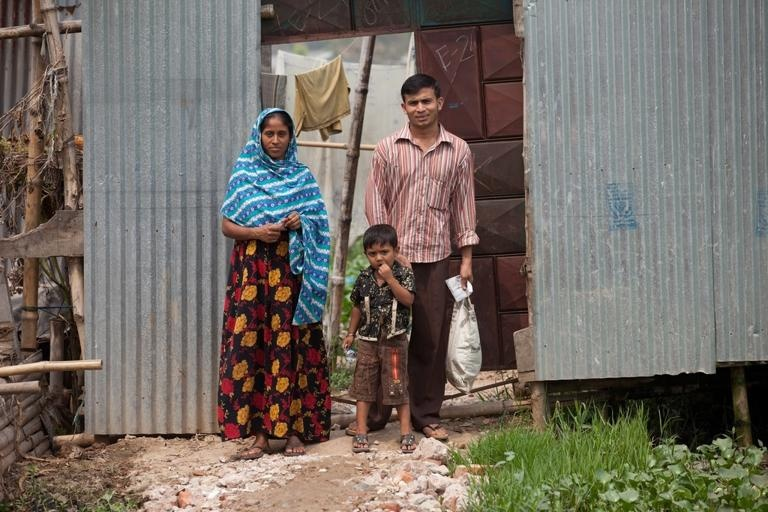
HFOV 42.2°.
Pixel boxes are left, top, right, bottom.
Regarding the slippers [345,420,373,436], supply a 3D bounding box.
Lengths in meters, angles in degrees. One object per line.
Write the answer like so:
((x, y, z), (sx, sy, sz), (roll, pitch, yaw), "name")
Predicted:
((-0.196, 1.405, 8.124), (0.158, 0.143, 0.476), (1, -1, -5), "slippers")

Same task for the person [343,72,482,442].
((0.327, -0.004, 8.261), (0.867, 3.024, 0.817), (3, 6, 17), "person")

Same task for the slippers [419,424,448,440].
((0.411, 1.435, 8.117), (0.095, 0.104, 0.245), (2, -10, -30), "slippers")

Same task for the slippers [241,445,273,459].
((-1.013, 1.549, 7.876), (0.180, 0.054, 0.097), (4, -3, -34), "slippers")

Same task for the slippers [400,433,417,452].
((0.187, 1.471, 7.828), (0.100, 0.093, 0.281), (0, -6, 1), "slippers")

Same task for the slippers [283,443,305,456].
((-0.711, 1.532, 7.885), (0.173, 0.063, 0.134), (-3, -2, -7), "slippers")

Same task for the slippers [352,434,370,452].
((-0.186, 1.476, 7.850), (0.103, 0.113, 0.273), (0, -5, -4), "slippers")

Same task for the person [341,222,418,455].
((-0.020, 0.650, 7.913), (0.542, 1.311, 0.304), (-3, -1, 2), "person")
